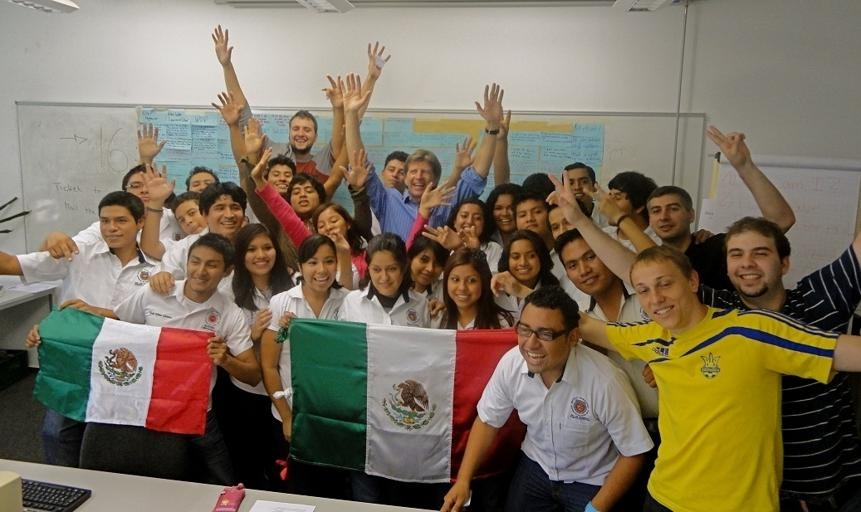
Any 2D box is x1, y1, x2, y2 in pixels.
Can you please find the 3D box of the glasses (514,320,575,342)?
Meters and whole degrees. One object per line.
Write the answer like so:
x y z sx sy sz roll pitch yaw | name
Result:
0.696 0.457 3.560 0.322 0.110 0.064 -1 14 1 | glasses
